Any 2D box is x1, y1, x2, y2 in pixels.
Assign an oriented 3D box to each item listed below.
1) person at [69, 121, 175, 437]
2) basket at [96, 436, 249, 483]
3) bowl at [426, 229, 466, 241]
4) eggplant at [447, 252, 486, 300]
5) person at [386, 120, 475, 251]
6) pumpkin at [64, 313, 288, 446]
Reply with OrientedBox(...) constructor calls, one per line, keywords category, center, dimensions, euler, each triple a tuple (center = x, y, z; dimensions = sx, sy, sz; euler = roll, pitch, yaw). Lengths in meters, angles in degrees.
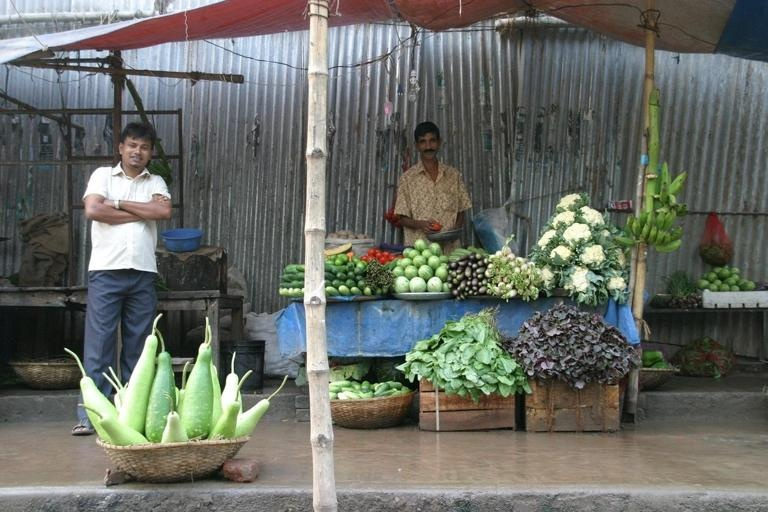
OrientedBox(category="person", center=(-2.849, 0.215, 10.378), dimensions=(0.913, 3.377, 0.994), euler=(-5, -5, 44))
OrientedBox(category="basket", center=(-2.164, 2.052, 9.292), dimensions=(1.459, 0.460, 1.611), euler=(-7, -12, 26))
OrientedBox(category="bowl", center=(0.729, -0.243, 11.311), dimensions=(0.403, 0.146, 0.253), euler=(0, 3, 2))
OrientedBox(category="eggplant", center=(0.935, 0.236, 10.504), dimensions=(0.438, 0.522, 0.176), euler=(0, 3, 4))
OrientedBox(category="person", center=(0.658, -0.860, 11.880), dimensions=(0.965, 1.645, 0.783), euler=(-3, 4, -38))
OrientedBox(category="pumpkin", center=(-2.015, 1.173, 8.856), dimensions=(1.630, 1.131, 0.613), euler=(-1, 3, -16))
